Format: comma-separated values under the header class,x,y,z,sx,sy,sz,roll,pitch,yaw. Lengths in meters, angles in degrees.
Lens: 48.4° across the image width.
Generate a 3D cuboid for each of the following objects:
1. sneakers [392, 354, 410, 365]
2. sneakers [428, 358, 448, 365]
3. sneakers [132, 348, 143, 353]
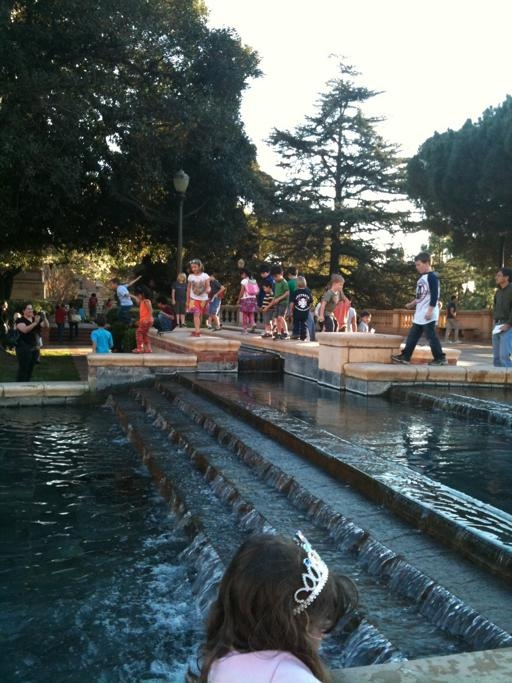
class,x,y,z,sx,sy,sz,roll,pitch,yaw
sneakers,2.253,0.271,8.830,0.244,0.152,0.246,0,3,13
sneakers,2.932,0.329,9.092,0.340,0.159,0.116,2,2,3
sneakers,-2.708,0.203,13.129,0.300,0.119,0.101,2,2,12
